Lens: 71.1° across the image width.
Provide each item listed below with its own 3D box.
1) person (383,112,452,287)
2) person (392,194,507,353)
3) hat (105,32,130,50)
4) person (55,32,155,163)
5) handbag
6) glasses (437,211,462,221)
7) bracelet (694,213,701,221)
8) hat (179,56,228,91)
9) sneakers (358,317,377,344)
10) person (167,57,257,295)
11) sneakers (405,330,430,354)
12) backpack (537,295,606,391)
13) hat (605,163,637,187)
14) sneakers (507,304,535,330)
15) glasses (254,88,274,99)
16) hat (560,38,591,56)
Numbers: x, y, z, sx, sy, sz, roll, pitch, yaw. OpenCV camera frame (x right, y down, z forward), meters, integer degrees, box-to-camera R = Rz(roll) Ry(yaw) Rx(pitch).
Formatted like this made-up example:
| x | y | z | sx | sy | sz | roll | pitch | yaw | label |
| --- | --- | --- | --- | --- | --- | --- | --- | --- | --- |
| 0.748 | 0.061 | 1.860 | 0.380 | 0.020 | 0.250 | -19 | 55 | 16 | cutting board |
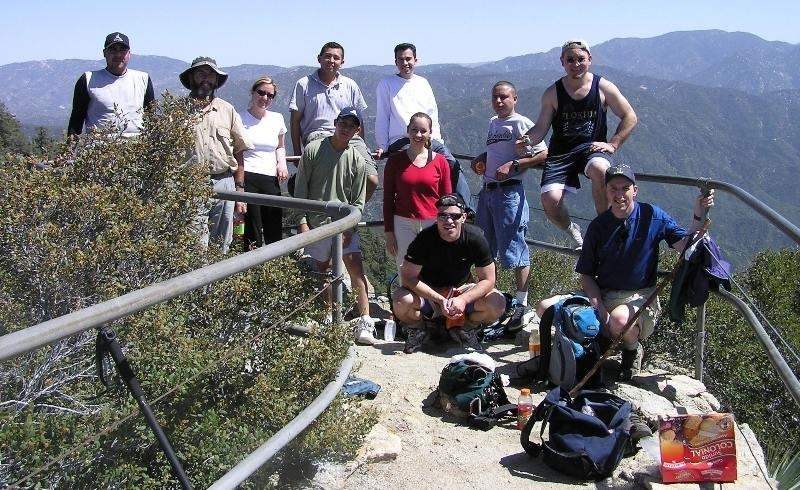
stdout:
| x | y | z | sx | sy | sz | roll | pitch | yaw | label |
| --- | --- | --- | --- | --- | --- | --- | --- | --- | --- |
| 0.225 | -0.185 | 6.198 | 0.795 | 2.370 | 0.794 | 0 | 12 | 0 | person |
| 0.484 | 0.278 | 5.637 | 1.081 | 1.554 | 0.458 | 0 | 18 | -6 | person |
| -2.584 | -1.845 | 5.088 | 0.189 | 0.126 | 0.213 | -5 | 19 | -19 | hat |
| -2.638 | -1.449 | 5.071 | 0.770 | 0.874 | 1.747 | -7 | 20 | -24 | person |
| 1.324 | 1.275 | 3.984 | 0.925 | 0.360 | 0.645 | -8 | 6 | -42 | handbag |
| 0.493 | -0.273 | 5.456 | 0.236 | 0.082 | 0.073 | 2 | 18 | 1 | glasses |
| 2.420 | -0.216 | 4.561 | 0.053 | 0.039 | 0.054 | 6 | 11 | 34 | bracelet |
| -1.803 | -1.569 | 5.148 | 0.402 | 0.280 | 0.483 | -4 | 19 | -18 | hat |
| -0.357 | 0.875 | 5.674 | 0.211 | 0.256 | 0.604 | 9 | -7 | -7 | sneakers |
| -1.659 | -0.782 | 5.246 | 0.594 | 1.845 | 1.528 | -5 | 19 | -20 | person |
| 0.171 | 0.981 | 5.692 | 0.115 | 0.140 | 0.342 | 2 | 15 | 27 | sneakers |
| 1.480 | 0.875 | 4.884 | 0.482 | 0.747 | 0.485 | 4 | 4 | 42 | backpack |
| 2.016 | -0.609 | 4.926 | 0.244 | 0.183 | 0.391 | 2 | 5 | 24 | hat |
| 1.313 | 0.778 | 6.149 | 0.143 | 0.181 | 0.437 | -26 | 2 | 37 | sneakers |
| -1.525 | -1.730 | 6.458 | 0.110 | 0.088 | 0.282 | 11 | 20 | 27 | glasses |
| 1.787 | -1.988 | 5.666 | 0.258 | 0.121 | 0.202 | 7 | 19 | 14 | hat |
